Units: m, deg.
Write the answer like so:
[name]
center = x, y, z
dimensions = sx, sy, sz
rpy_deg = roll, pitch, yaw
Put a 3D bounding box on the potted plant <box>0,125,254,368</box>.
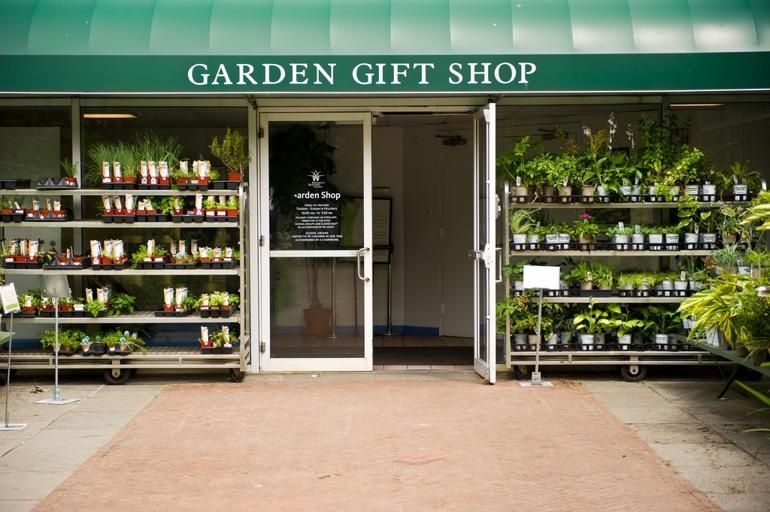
[potted plant]
center = -3.086, -0.077, 8.334
dimensions = 3.321, 2.552, 1.037
rpy_deg = 0, -5, -3
